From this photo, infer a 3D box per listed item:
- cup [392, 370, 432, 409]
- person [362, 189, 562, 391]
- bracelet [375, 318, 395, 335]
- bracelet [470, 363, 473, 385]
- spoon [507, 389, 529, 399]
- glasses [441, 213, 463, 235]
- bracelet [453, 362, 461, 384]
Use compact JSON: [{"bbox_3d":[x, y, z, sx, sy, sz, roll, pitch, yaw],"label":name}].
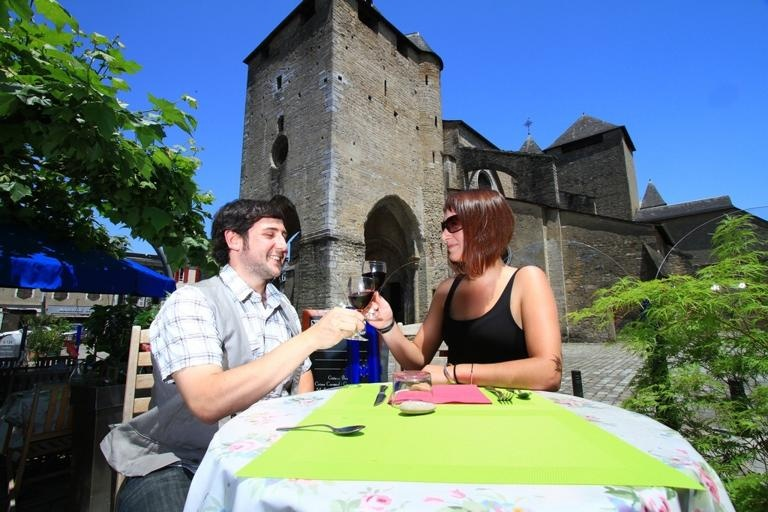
[{"bbox_3d":[0.134,0.662,1.866,0.176,0.127,0.172,-2,-10,0],"label":"cup"},{"bbox_3d":[0.651,0.183,2.552,0.848,1.335,1.002,-1,4,-5],"label":"person"},{"bbox_3d":[0.009,0.478,2.554,0.120,0.034,0.115,-8,-1,-32],"label":"bracelet"},{"bbox_3d":[0.502,0.689,2.172,0.021,0.094,0.050,0,4,13],"label":"bracelet"},{"bbox_3d":[0.713,0.729,1.975,0.060,0.020,0.039,13,-1,9],"label":"spoon"},{"bbox_3d":[0.504,-0.233,2.759,0.139,0.046,0.131,11,-21,-25],"label":"glasses"},{"bbox_3d":[0.418,0.703,2.208,0.023,0.081,0.076,-11,10,-2],"label":"bracelet"}]
